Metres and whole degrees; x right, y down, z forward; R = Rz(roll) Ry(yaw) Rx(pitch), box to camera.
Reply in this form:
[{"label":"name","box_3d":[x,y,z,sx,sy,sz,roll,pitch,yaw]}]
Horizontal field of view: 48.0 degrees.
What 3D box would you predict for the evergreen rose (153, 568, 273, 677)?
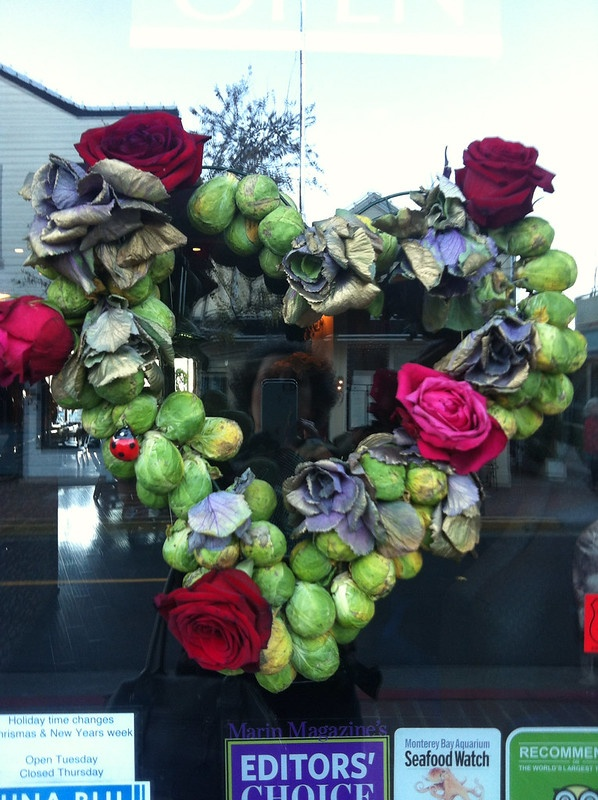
[{"label":"evergreen rose","box_3d":[-0.201,0.503,1.511,0.256,0.221,0.114,1,5,22]}]
